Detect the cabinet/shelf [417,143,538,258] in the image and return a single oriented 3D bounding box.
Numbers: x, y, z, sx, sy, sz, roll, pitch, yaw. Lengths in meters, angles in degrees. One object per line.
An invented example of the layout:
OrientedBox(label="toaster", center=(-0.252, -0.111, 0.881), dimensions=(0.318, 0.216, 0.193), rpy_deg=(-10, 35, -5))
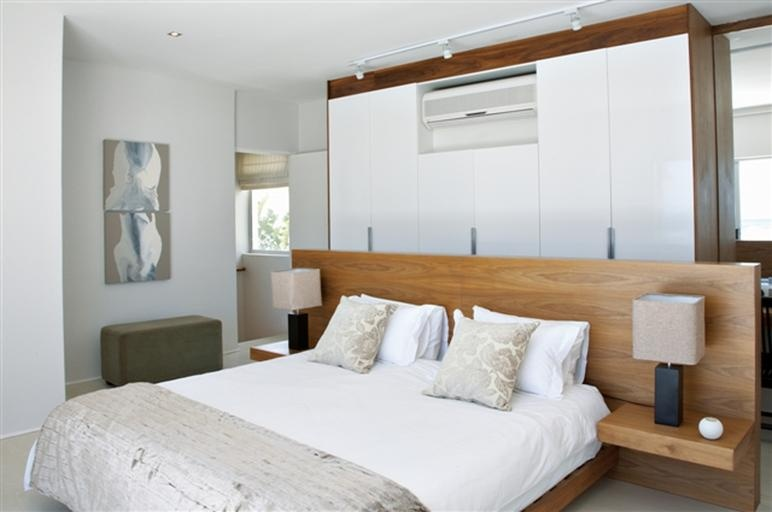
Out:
OrientedBox(label="cabinet/shelf", center=(0.948, -0.544, 5.118), dimensions=(1.376, 1.170, 0.471), rpy_deg=(0, 0, 29))

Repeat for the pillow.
OrientedBox(label="pillow", center=(0.414, 0.662, 3.745), dimensions=(1.773, 0.568, 0.713), rpy_deg=(8, 15, 28))

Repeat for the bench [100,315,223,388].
OrientedBox(label="bench", center=(-2.428, 1.039, 5.602), dimensions=(0.638, 0.634, 1.186), rpy_deg=(4, 4, 35))

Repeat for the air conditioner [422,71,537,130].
OrientedBox(label="air conditioner", center=(1.042, -1.553, 5.349), dimensions=(1.366, 0.411, 0.403), rpy_deg=(5, 11, 40))

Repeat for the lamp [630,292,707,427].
OrientedBox(label="lamp", center=(1.757, 0.635, 3.265), dimensions=(0.408, 0.797, 0.431), rpy_deg=(10, 17, 29))
